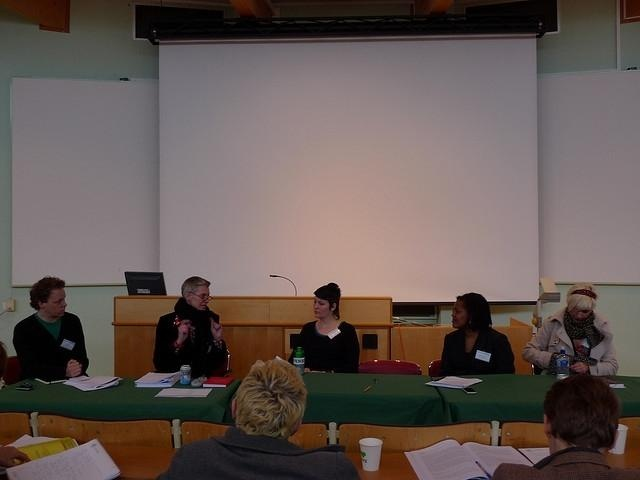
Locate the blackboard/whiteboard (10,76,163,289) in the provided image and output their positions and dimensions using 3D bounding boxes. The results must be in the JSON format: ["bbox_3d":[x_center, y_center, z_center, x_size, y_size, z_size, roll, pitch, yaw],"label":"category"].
[{"bbox_3d":[-2.920,-0.677,6.827,2.338,3.539,0.072,0,-3,-7],"label":"blackboard/whiteboard"}]

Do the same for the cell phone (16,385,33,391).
[{"bbox_3d":[-2.000,1.000,3.788,0.077,0.025,0.047,0,-3,14],"label":"cell phone"}]

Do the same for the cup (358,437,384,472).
[{"bbox_3d":[0.267,1.136,2.957,0.129,0.145,0.137,0,-10,0],"label":"cup"}]

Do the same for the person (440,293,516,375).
[{"bbox_3d":[1.294,0.813,4.611,0.623,0.757,0.422,-2,-4,43],"label":"person"}]

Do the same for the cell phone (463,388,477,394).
[{"bbox_3d":[0.998,1.003,3.717,0.084,0.017,0.152,-3,0,-4],"label":"cell phone"}]

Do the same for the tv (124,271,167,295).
[{"bbox_3d":[-1.682,0.429,5.437,0.296,0.232,0.237,1,4,-3],"label":"tv"}]
